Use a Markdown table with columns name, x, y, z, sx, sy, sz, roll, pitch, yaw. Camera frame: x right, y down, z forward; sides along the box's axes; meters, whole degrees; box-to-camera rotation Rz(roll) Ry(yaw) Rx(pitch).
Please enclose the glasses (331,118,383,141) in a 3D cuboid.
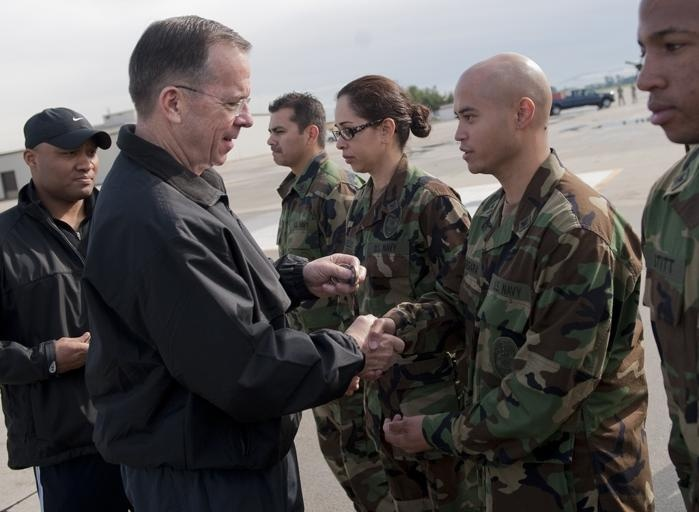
| name | x | y | z | sx | sy | sz | roll | pitch | yaw |
| --- | --- | --- | --- | --- | --- | --- | --- | --- | --- |
| glasses | 0.045 | -0.826 | 4.409 | 0.192 | 0.054 | 0.180 | -17 | 8 | -19 |
